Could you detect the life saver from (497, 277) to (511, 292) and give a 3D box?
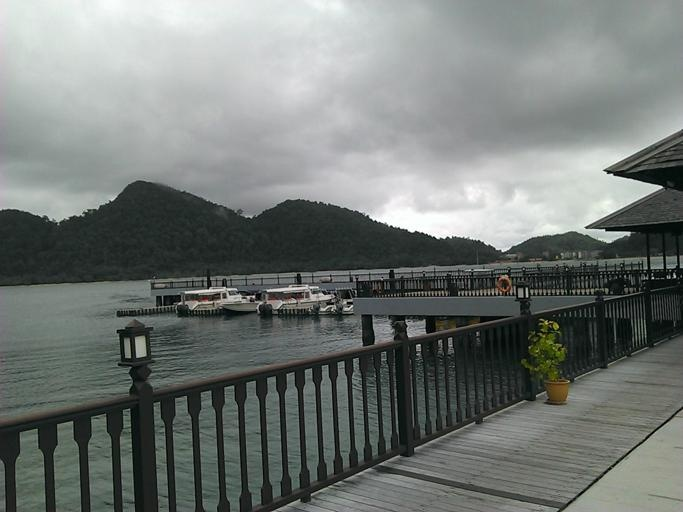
[{"bbox_3d":[7.666,1.317,24.548,0.619,0.752,0.895,-4,-1,14],"label":"life saver"}]

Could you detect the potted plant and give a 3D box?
[{"bbox_3d":[3.302,1.658,8.483,0.668,1.354,1.186,-4,-1,21],"label":"potted plant"}]
